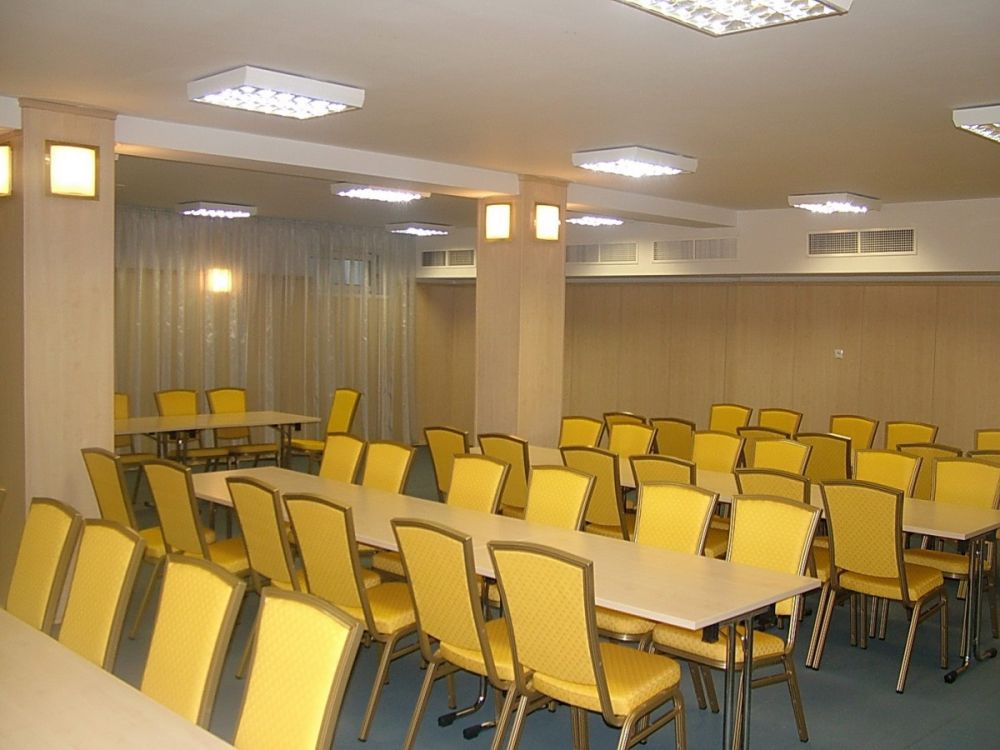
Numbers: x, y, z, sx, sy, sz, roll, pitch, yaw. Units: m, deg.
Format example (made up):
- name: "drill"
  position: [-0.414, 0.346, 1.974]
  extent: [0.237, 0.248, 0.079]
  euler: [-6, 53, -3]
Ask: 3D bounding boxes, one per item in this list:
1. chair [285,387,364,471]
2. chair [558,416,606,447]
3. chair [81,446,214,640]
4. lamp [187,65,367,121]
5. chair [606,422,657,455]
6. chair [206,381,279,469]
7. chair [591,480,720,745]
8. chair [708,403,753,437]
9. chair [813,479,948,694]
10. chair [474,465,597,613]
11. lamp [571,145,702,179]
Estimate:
- name: "chair"
  position: [-2.149, 0.699, 8.846]
  extent: [0.784, 1.078, 0.661]
  euler: [-2, 4, -45]
- name: "chair"
  position: [0.783, 0.528, 7.202]
  extent: [0.293, 0.494, 0.349]
  euler: [2, 1, 33]
- name: "chair"
  position: [-2.180, 1.047, 4.806]
  extent: [0.646, 1.275, 0.771]
  euler: [0, 3, 45]
- name: "lamp"
  position: [-1.295, -1.639, 4.306]
  extent: [0.896, 0.156, 0.551]
  euler: [-3, 5, -30]
- name: "chair"
  position: [1.218, 0.570, 6.809]
  extent: [0.282, 0.471, 0.331]
  euler: [2, 2, 36]
- name: "chair"
  position: [-3.025, 0.761, 8.822]
  extent: [0.827, 1.215, 0.633]
  euler: [1, 2, 42]
- name: "chair"
  position: [0.898, 1.041, 3.995]
  extent: [0.440, 0.807, 0.574]
  euler: [5, 48, 19]
- name: "chair"
  position: [2.494, 0.487, 8.030]
  extent: [0.291, 0.496, 0.348]
  euler: [4, 4, 38]
- name: "chair"
  position: [2.247, 1.163, 4.402]
  extent: [0.715, 1.176, 0.511]
  euler: [-5, 6, -40]
- name: "chair"
  position: [0.222, 0.830, 4.119]
  extent: [0.491, 0.845, 0.540]
  euler: [10, -27, 16]
- name: "lamp"
  position: [1.058, -1.679, 5.774]
  extent: [0.879, 0.175, 0.530]
  euler: [-2, 4, -16]
